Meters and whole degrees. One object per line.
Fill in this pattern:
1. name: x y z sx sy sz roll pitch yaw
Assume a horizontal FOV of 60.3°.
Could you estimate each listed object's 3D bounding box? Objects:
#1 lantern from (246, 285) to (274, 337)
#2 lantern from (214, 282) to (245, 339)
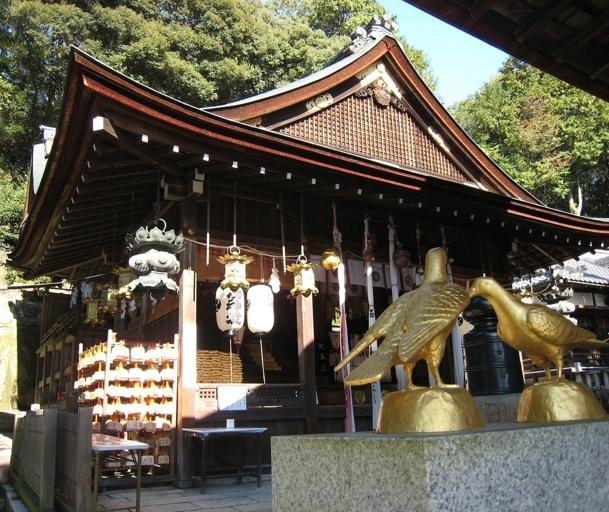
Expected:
1. lantern: -0.672 0.775 7.970 0.390 0.745 0.434 0 -15 -7
2. lantern: -1.134 0.779 7.935 0.435 0.641 0.302 -3 -15 1
